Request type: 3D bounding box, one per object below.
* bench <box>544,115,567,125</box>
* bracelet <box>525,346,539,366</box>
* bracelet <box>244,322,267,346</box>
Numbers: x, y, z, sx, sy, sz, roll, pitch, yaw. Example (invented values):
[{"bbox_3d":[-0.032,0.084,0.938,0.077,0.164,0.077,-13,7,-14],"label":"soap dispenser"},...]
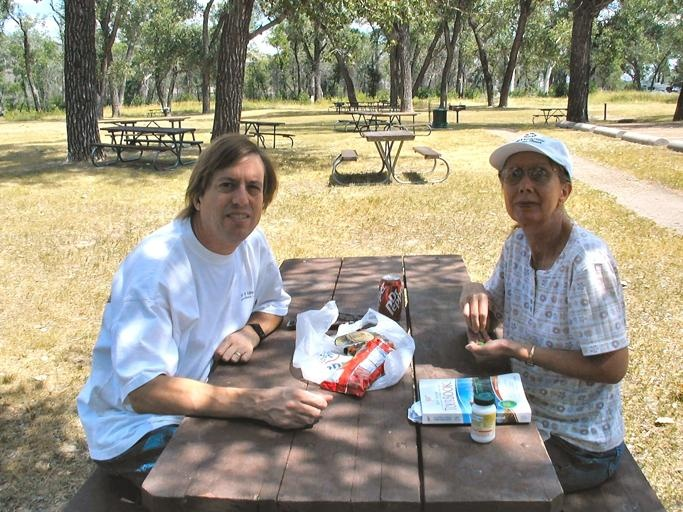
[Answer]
[{"bbox_3d":[10.241,-6.531,25.705,0.852,0.318,4.918,5,15,21],"label":"bench"},{"bbox_3d":[0.904,0.481,2.550,0.043,0.081,0.081,6,55,10],"label":"bracelet"},{"bbox_3d":[-0.458,0.410,2.940,0.075,0.122,0.113,-20,22,-38],"label":"bracelet"}]
